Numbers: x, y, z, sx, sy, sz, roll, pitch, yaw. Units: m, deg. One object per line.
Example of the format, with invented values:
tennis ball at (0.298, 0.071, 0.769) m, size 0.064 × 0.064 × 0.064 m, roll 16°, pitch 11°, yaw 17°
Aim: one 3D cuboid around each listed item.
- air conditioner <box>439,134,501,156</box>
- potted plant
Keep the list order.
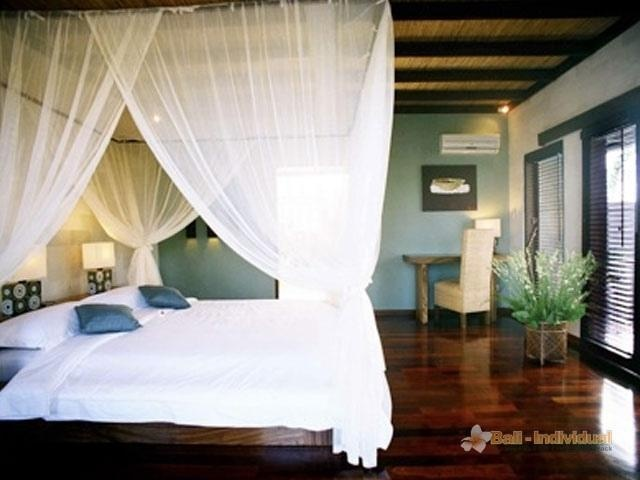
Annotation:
air conditioner at (1.871, -1.223, 6.243) m, size 0.721 × 0.223 × 0.120 m, roll 0°, pitch 1°, yaw -4°
potted plant at (2.335, 0.617, 5.024) m, size 0.786 × 1.028 × 1.240 m, roll 1°, pitch 2°, yaw 29°
